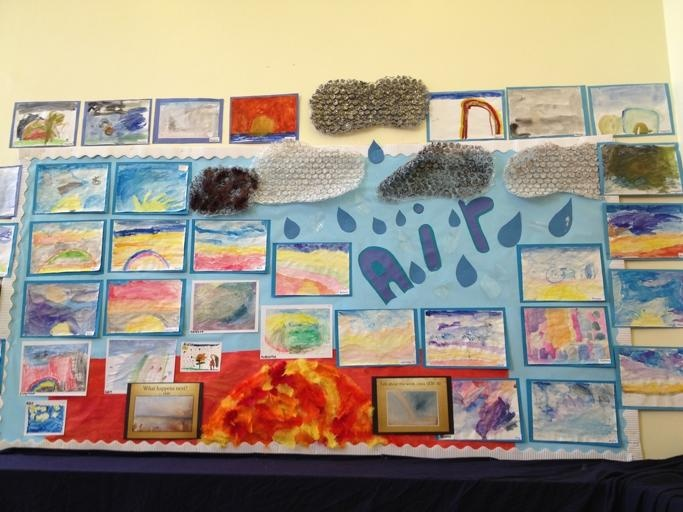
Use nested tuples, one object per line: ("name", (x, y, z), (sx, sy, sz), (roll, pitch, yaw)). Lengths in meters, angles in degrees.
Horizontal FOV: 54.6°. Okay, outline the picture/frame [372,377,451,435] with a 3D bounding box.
("picture/frame", (0.366, 0.804, 3.474), (0.324, 0.212, 0.010), (0, -10, -1))
